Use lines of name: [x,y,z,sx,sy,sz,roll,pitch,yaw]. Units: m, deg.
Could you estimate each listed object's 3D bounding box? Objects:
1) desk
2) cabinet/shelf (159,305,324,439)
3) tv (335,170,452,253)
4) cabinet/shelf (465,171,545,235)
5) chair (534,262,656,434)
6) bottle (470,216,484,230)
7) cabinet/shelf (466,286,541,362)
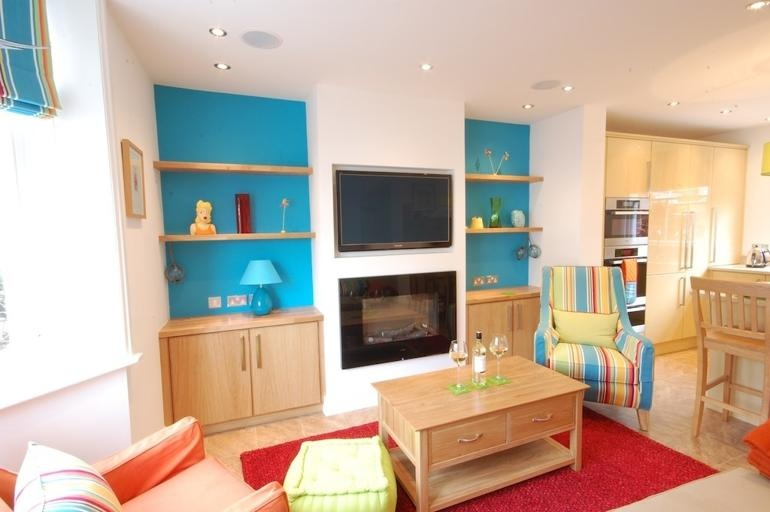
desk: [0.626,0.950,3.974,1.577,0.736,0.900,-4,8,-24]
cabinet/shelf: [-1.289,1.056,4.768,1.453,0.991,0.459,-4,10,-25]
tv: [0.036,-0.443,4.881,0.849,0.544,0.059,-2,7,-19]
cabinet/shelf: [1.334,-0.607,5.766,0.786,0.501,0.252,-1,5,-23]
chair: [1.794,0.759,4.699,0.985,1.247,1.080,0,5,2]
bottle: [1.017,-0.360,5.608,0.167,0.158,0.163,1,2,-21]
cabinet/shelf: [1.201,0.713,5.150,0.789,0.696,0.295,-3,7,-23]
